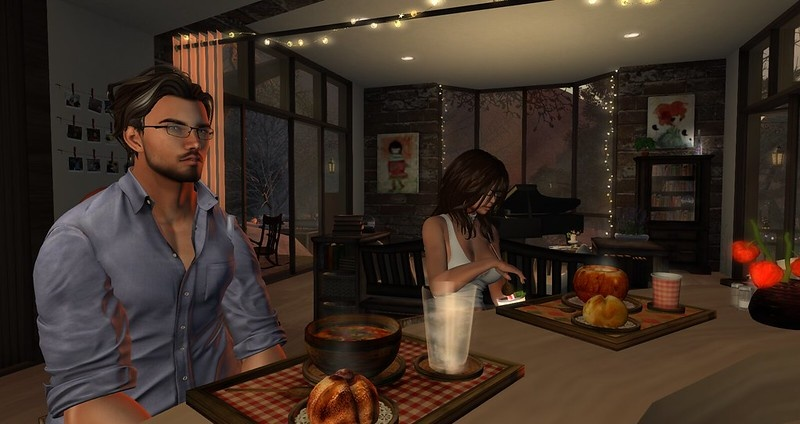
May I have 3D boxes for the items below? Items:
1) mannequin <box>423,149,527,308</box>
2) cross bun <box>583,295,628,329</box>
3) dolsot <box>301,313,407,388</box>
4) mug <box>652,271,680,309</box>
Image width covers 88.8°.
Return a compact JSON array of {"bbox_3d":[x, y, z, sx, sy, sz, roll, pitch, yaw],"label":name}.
[{"bbox_3d":[0.575,0.261,3.118,0.824,1.350,0.643,3,-1,1],"label":"mannequin"},{"bbox_3d":[1.104,0.537,2.196,0.210,0.165,0.076,-1,5,20],"label":"cross bun"},{"bbox_3d":[-0.207,0.563,1.876,0.393,0.189,0.363,0,-3,-6],"label":"dolsot"},{"bbox_3d":[1.561,0.470,2.482,0.214,0.188,0.190,0,3,17],"label":"mug"}]
